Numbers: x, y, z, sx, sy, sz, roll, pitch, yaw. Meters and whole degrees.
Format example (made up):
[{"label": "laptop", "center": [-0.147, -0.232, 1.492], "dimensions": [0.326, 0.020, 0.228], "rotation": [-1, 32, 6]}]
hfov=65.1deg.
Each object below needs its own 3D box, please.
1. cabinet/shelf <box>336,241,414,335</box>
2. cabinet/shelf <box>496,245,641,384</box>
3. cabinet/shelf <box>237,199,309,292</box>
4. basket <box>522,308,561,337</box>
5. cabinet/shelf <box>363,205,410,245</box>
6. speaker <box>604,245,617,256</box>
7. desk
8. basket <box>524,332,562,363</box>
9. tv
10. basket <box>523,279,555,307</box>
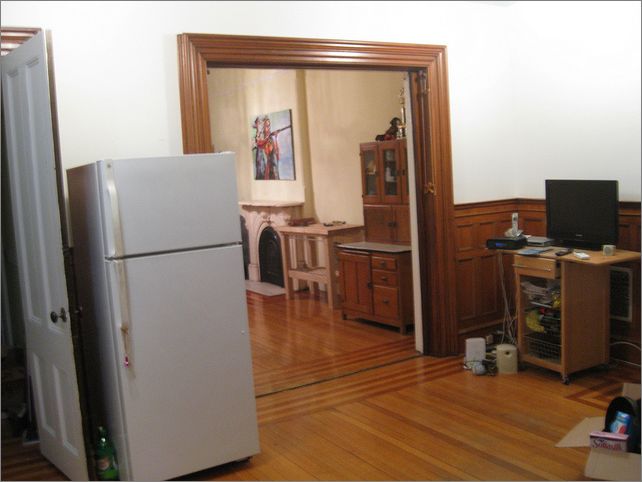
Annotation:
[{"label": "cabinet/shelf", "center": [0.769, 0.567, 6.578], "dimensions": [0.526, 0.951, 1.055], "rotation": [-12, 12, -42]}, {"label": "cabinet/shelf", "center": [2.278, 0.640, 4.551], "dimensions": [0.633, 1.131, 0.830], "rotation": [-9, 9, -34]}, {"label": "cabinet/shelf", "center": [-0.723, 0.066, 8.246], "dimensions": [0.611, 1.511, 1.518], "rotation": [-2, 5, -31]}, {"label": "basket", "center": [2.019, 0.735, 4.583], "dimensions": [0.194, 0.129, 0.248], "rotation": [-4, 8, -32]}, {"label": "cabinet/shelf", "center": [1.037, -0.241, 6.785], "dimensions": [0.911, 0.548, 0.343], "rotation": [6, 18, 37]}, {"label": "speaker", "center": [2.460, 0.080, 4.296], "dimensions": [0.082, 0.076, 0.084], "rotation": [-7, 9, -38]}, {"label": "desk", "center": [-0.004, 0.345, 7.828], "dimensions": [0.757, 1.145, 1.178], "rotation": [-6, 6, -42]}, {"label": "basket", "center": [2.055, 0.998, 4.681], "dimensions": [0.186, 0.135, 0.268], "rotation": [-8, 17, -32]}, {"label": "tv", "center": [2.354, -0.251, 4.562], "dimensions": [0.117, 0.631, 0.692], "rotation": [-9, 10, -27]}, {"label": "basket", "center": [1.982, 0.470, 4.588], "dimensions": [0.190, 0.088, 0.233], "rotation": [-10, 13, -32]}]
